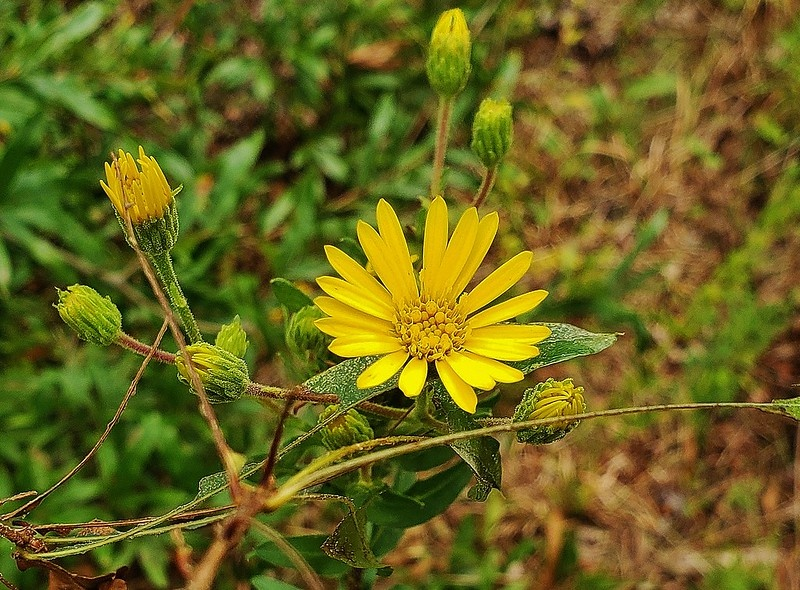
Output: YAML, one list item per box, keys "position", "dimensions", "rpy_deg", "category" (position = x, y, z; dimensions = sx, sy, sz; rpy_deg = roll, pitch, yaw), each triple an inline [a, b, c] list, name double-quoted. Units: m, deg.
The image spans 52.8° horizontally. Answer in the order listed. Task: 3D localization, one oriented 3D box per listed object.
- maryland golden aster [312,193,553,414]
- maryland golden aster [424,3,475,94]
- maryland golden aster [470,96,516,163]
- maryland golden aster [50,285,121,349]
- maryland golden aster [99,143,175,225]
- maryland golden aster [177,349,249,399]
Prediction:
- position: [0.054, 0.016, 1.625]
  dimensions: [0.486, 0.473, 0.171]
  rpy_deg: [-18, 122, -32]
  category: "maryland golden aster"
- position: [0.104, -0.523, 1.741]
  dimensions: [0.094, 0.100, 0.175]
  rpy_deg: [3, 81, 1]
  category: "maryland golden aster"
- position: [0.197, -0.353, 1.743]
  dimensions: [0.083, 0.068, 0.142]
  rpy_deg: [3, 93, -38]
  category: "maryland golden aster"
- position: [-0.629, 0.044, 1.633]
  dimensions: [0.144, 0.078, 0.096]
  rpy_deg: [44, 63, -12]
  category: "maryland golden aster"
- position: [-0.537, -0.234, 1.682]
  dimensions: [0.123, 0.125, 0.149]
  rpy_deg: [-7, 99, -8]
  category: "maryland golden aster"
- position: [-0.377, 0.154, 1.647]
  dimensions: [0.118, 0.097, 0.073]
  rpy_deg: [34, 74, -30]
  category: "maryland golden aster"
